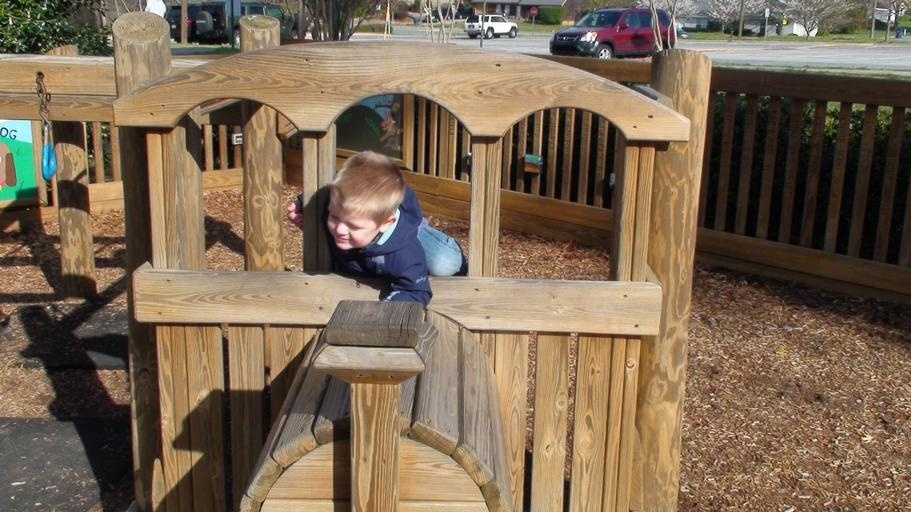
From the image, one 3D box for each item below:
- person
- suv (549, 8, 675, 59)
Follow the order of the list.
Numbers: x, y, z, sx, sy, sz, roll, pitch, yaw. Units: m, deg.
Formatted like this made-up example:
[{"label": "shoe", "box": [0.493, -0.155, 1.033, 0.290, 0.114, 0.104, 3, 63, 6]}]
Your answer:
[{"label": "person", "box": [-0.508, -0.194, 5.489, 1.055, 0.993, 0.759, -2, 15, -9]}, {"label": "suv", "box": [5.018, -7.343, 26.625, 3.166, 1.592, 1.493, -2, 15, -11]}]
